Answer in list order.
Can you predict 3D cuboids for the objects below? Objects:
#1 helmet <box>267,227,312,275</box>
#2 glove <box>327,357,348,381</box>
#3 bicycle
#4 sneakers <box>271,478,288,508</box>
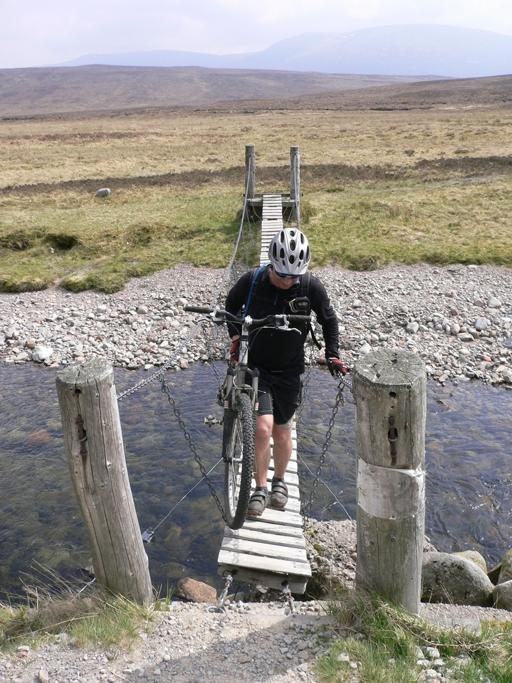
[{"bbox_3d":[0.261,-0.781,5.313,0.403,0.387,0.515,7,19,1],"label":"helmet"},{"bbox_3d":[0.723,0.261,5.603,0.169,0.271,0.421,-1,17,6],"label":"glove"},{"bbox_3d":[-0.114,0.705,5.266,0.842,2.117,1.237,4,19,20],"label":"bicycle"},{"bbox_3d":[0.223,1.455,5.954,0.120,0.121,0.327,0,12,0],"label":"sneakers"}]
